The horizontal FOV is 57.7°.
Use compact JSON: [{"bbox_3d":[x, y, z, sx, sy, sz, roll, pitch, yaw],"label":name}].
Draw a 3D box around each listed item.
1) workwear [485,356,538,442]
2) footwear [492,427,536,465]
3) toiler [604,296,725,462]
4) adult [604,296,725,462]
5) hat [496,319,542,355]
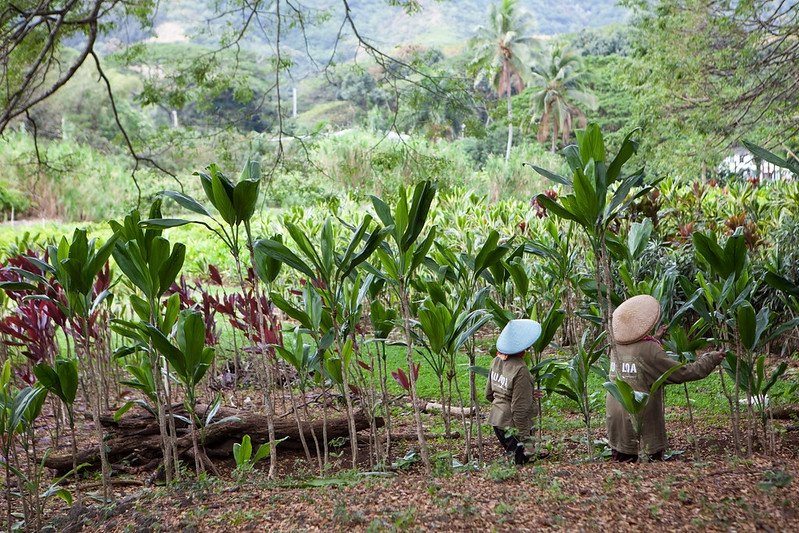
[{"bbox_3d":[1.158,1.288,7.346,0.462,0.789,0.730,2,4,-18],"label":"workwear"},{"bbox_3d":[1.143,1.758,7.101,0.551,0.158,0.202,43,-26,-3],"label":"footwear"},{"bbox_3d":[2.578,1.368,7.125,0.989,2.131,0.907,10,20,40],"label":"toiler"},{"bbox_3d":[2.540,1.360,7.205,0.971,2.184,0.994,-20,25,-41],"label":"adult"},{"bbox_3d":[1.156,0.674,7.004,0.453,0.338,0.252,-5,-6,17],"label":"hat"}]
